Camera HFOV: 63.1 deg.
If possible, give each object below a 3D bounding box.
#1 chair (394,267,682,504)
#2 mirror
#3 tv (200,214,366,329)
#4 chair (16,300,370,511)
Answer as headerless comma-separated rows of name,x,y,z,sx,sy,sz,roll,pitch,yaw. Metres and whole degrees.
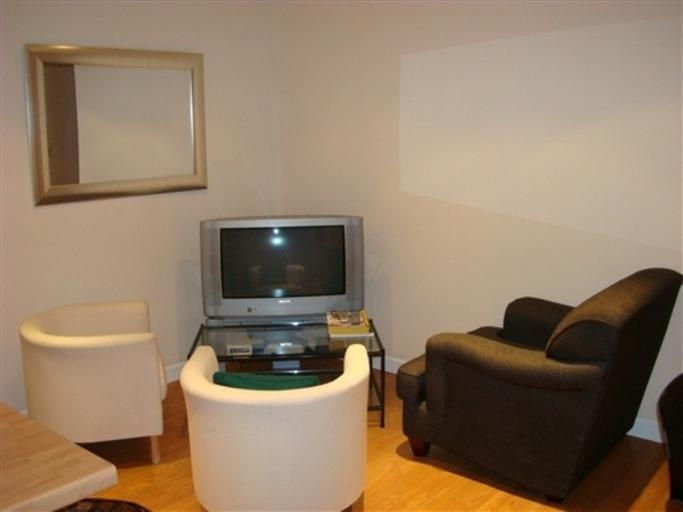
chair,1.094,0.574,3.495,1.420,1.256,1.285,12,19,43
mirror,-1.484,-0.890,3.766,1.210,1.000,0.025,-2,6,-4
tv,-0.420,0.254,4.312,1.320,0.931,0.721,-1,5,-3
chair,-1.021,0.938,3.386,1.782,0.863,1.066,-1,14,-7
